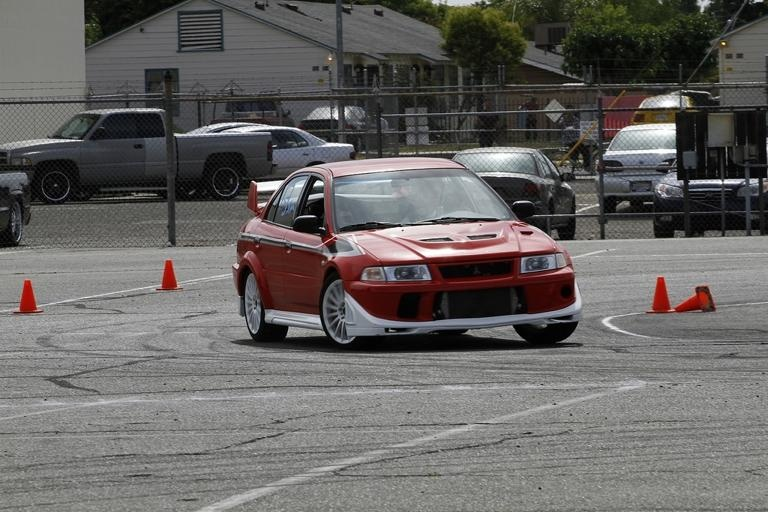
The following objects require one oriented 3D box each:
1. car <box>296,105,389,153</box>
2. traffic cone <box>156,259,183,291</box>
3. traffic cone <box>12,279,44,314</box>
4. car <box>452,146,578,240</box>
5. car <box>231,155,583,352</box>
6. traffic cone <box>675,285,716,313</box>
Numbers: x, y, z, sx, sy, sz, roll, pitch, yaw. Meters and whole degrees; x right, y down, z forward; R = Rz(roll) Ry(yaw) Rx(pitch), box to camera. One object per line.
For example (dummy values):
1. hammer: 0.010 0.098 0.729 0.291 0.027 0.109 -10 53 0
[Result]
1. car: -2.188 -4.377 32.774 2.683 1.525 3.995 4 12 27
2. traffic cone: -3.418 0.263 14.163 0.343 0.481 0.768 -4 6 -14
3. traffic cone: -4.933 0.538 12.386 0.330 0.440 0.486 -4 6 -20
4. car: 3.078 -1.525 19.458 1.968 1.066 2.929 0 10 15
5. car: 0.111 -0.030 9.771 3.515 2.073 1.908 4 8 43
6. traffic cone: 3.814 0.520 10.968 0.465 0.233 0.364 -8 4 17
